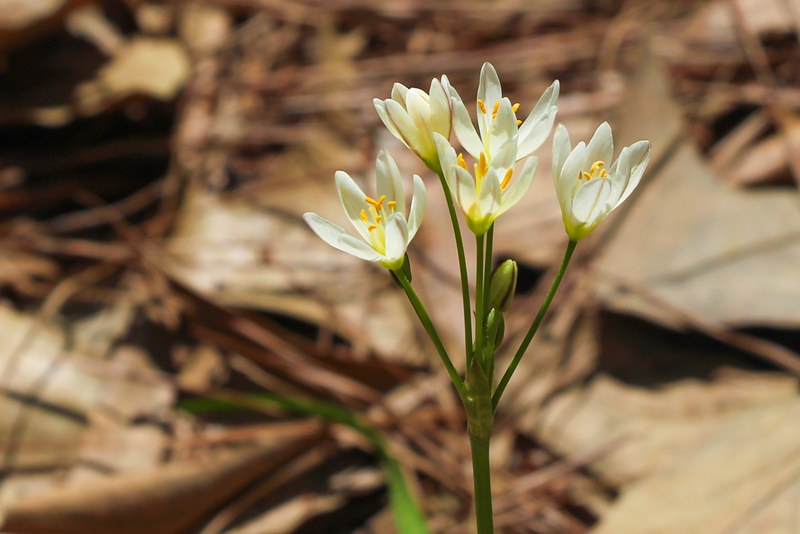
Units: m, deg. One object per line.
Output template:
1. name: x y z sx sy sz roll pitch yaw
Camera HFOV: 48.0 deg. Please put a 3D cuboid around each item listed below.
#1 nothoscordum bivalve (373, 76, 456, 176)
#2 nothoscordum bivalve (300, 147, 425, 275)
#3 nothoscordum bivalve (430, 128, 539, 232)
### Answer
1. nothoscordum bivalve: 0.021 -0.143 0.937 0.075 0.055 0.079 -13 70 1
2. nothoscordum bivalve: -0.024 -0.061 0.940 0.115 0.075 0.107 27 75 14
3. nothoscordum bivalve: 0.090 -0.075 0.940 0.111 0.095 0.087 8 90 17
